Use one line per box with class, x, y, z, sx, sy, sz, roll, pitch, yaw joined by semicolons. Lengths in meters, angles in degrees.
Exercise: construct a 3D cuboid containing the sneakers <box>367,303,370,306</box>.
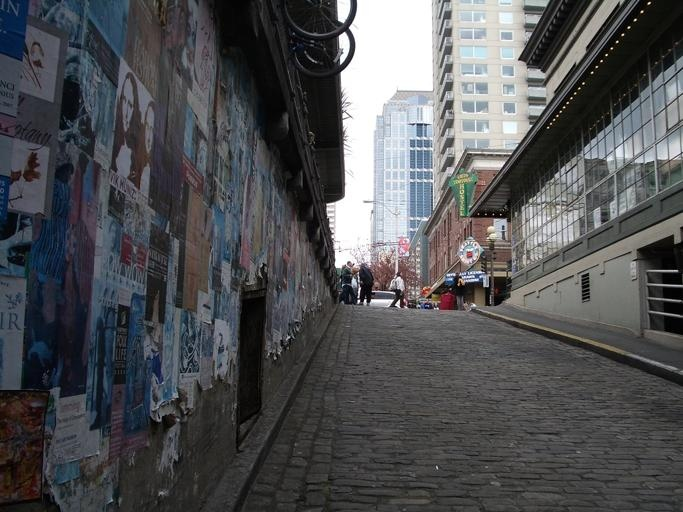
sneakers;1.420;2.505;27.850;0.108;0.141;0.089;2;-1;14
